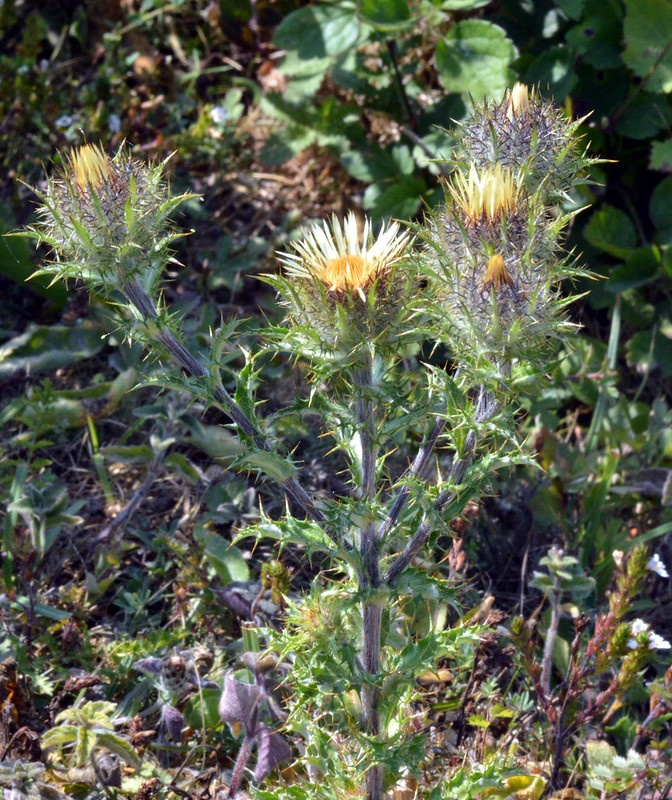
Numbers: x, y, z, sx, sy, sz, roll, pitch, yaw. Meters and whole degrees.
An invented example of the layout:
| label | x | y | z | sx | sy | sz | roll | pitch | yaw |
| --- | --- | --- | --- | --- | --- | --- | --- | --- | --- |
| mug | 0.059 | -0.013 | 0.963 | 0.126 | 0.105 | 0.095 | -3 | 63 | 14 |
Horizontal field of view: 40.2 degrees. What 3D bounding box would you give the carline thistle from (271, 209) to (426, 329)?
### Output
| label | x | y | z | sx | sy | sz | roll | pitch | yaw |
| --- | --- | --- | --- | --- | --- | --- | --- | --- | --- |
| carline thistle | 0.032 | -0.297 | 2.208 | 0.370 | 0.197 | 0.278 | -3 | 72 | 4 |
